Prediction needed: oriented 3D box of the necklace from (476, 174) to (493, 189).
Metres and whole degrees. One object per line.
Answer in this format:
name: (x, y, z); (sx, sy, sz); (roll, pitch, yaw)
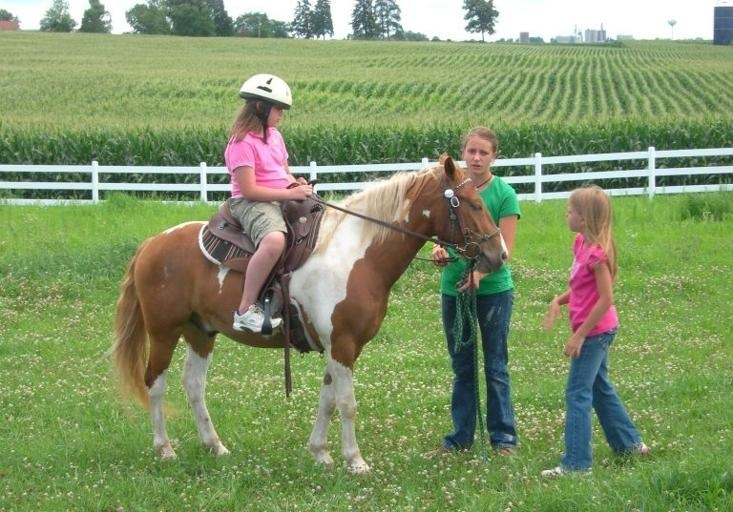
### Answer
necklace: (2.483, -1.525, 22.075); (0.300, 0.121, 0.239); (-36, 0, -6)
